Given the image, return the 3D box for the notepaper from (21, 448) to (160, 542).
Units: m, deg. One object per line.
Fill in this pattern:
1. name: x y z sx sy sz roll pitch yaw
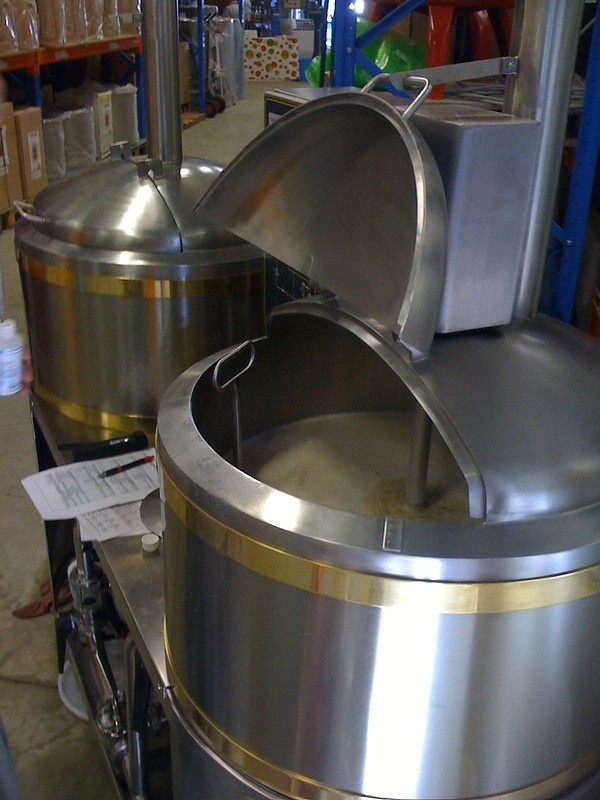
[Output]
1. notepaper: -0.415 0.192 1.358 0.234 0.025 0.256 -8 28 -15
